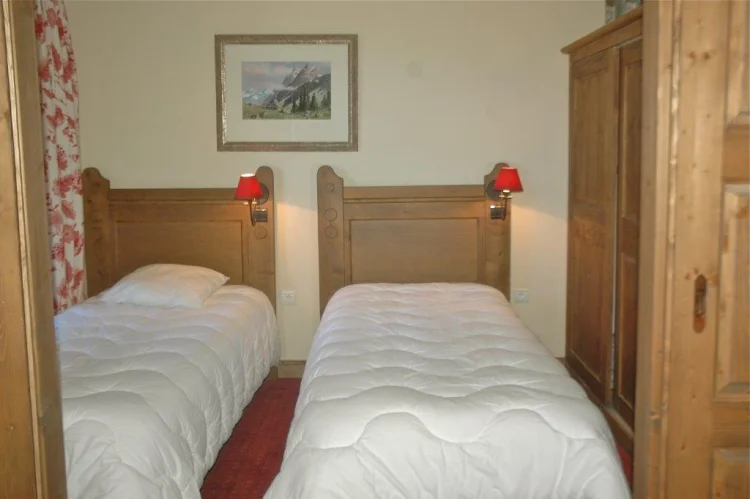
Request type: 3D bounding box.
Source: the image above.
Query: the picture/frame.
[{"bbox_3d":[-0.719,-1.278,4.629,0.867,0.678,0.035,0,9,-1],"label":"picture/frame"}]

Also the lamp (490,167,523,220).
[{"bbox_3d":[1.016,-0.419,4.525,0.254,0.445,0.225,4,17,23],"label":"lamp"}]

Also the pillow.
[{"bbox_3d":[-1.498,0.277,4.267,0.427,0.138,0.493,6,9,3],"label":"pillow"}]
